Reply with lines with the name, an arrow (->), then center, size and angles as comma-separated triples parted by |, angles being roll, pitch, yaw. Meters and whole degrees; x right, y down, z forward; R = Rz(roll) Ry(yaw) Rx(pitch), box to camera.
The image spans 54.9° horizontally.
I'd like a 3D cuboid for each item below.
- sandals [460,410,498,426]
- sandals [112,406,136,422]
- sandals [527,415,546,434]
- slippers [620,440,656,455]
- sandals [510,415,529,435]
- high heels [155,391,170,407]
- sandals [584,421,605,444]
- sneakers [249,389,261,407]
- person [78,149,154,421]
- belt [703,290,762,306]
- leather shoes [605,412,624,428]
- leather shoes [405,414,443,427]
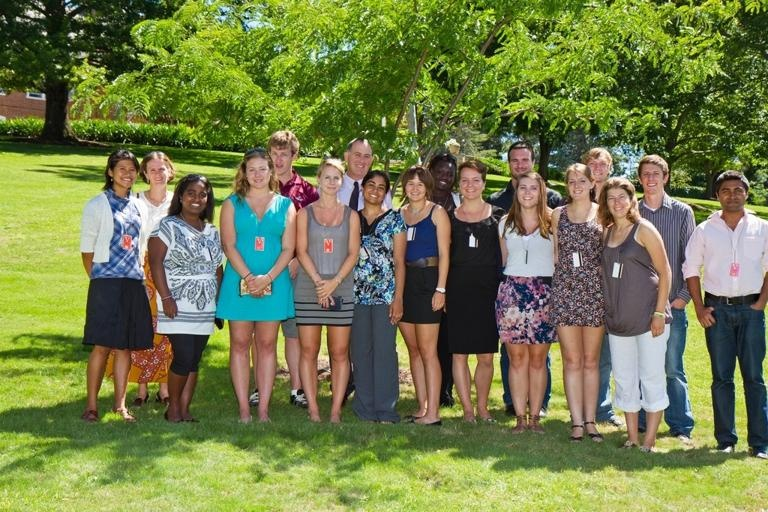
sandals -> 1.230, 2.115, 9.664 | 0.458, 0.164, 0.157 | 7, -2, -9
sandals -> -3.207, 1.986, 9.210 | 0.151, 0.101, 0.384 | 2, 12, -42
sandals -> 1.902, 2.110, 9.379 | 0.254, 0.187, 0.122 | 11, 13, 38
slippers -> 3.073, 2.315, 8.967 | 0.378, 0.093, 0.145 | 12, 16, 32
sandals -> 1.724, 2.106, 9.390 | 0.193, 0.193, 0.376 | 5, 10, 11
high heels -> -2.976, 1.917, 9.949 | 0.117, 0.122, 0.331 | 3, 3, -20
sandals -> 2.603, 2.179, 9.140 | 0.125, 0.124, 0.356 | -2, 3, -2
sneakers -> -1.749, 1.934, 10.043 | 0.168, 0.195, 0.447 | 1, -11, -8
person -> -3.269, 0.385, 9.139 | 0.832, 3.345, 0.895 | 0, 11, -18
belt -> 4.250, 0.527, 9.067 | 0.595, 0.211, 0.112 | 7, 11, 21
leather shoes -> 3.091, 2.208, 9.986 | 0.305, 0.128, 0.109 | 9, 12, 18
leather shoes -> 0.512, 2.130, 9.556 | 0.447, 0.101, 0.150 | 6, -8, 6
